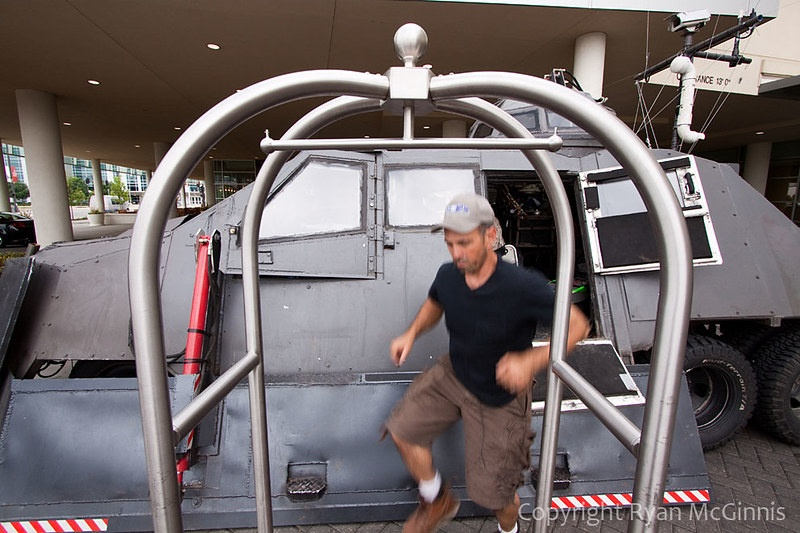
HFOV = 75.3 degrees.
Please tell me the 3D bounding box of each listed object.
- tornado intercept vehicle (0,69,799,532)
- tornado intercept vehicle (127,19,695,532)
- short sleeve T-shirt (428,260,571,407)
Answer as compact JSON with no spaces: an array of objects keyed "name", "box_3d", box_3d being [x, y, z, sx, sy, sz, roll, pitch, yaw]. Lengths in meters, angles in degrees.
[{"name":"tornado intercept vehicle","box_3d":[-0.679,0.518,5.774,6.327,3.055,3.993,1,1,-3]},{"name":"tornado intercept vehicle","box_3d":[0.052,-0.388,5.467,3.869,5.413,3.183,0,18,1]},{"name":"short sleeve T-shirt","box_3d":[0.809,0.572,4.262,1.061,1.106,0.570,15,35,40]}]
